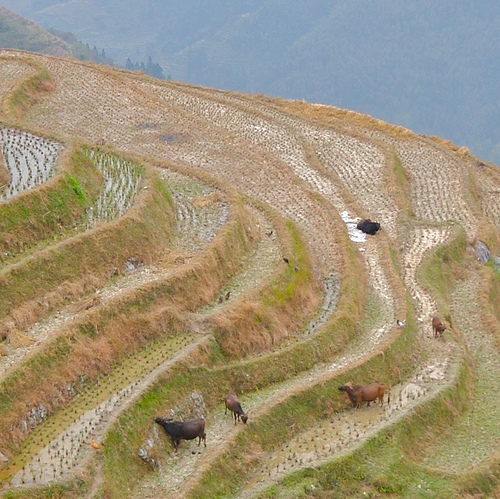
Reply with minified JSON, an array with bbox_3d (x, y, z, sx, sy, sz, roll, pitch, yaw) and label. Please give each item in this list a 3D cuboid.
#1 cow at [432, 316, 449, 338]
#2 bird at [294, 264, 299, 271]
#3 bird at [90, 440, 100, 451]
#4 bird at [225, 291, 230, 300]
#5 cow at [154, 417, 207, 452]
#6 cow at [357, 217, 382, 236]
[{"bbox_3d":[18.116,7.248,112.813,1.333,1.615,1.988,14,56,21],"label":"cow"},{"bbox_3d":[4.531,1.680,114.272,0.349,0.142,0.440,28,59,8],"label":"bird"},{"bbox_3d":[-13.645,16.955,102.617,0.409,0.289,0.704,-40,83,-3],"label":"bird"},{"bbox_3d":[-2.214,4.286,111.286,0.219,0.318,0.730,12,68,43],"label":"bird"},{"bbox_3d":[-6.075,15.970,103.962,3.983,1.916,2.085,2,53,12],"label":"cow"},{"bbox_3d":[12.220,-2.368,121.883,1.524,1.016,2.021,-20,28,-31],"label":"cow"}]
